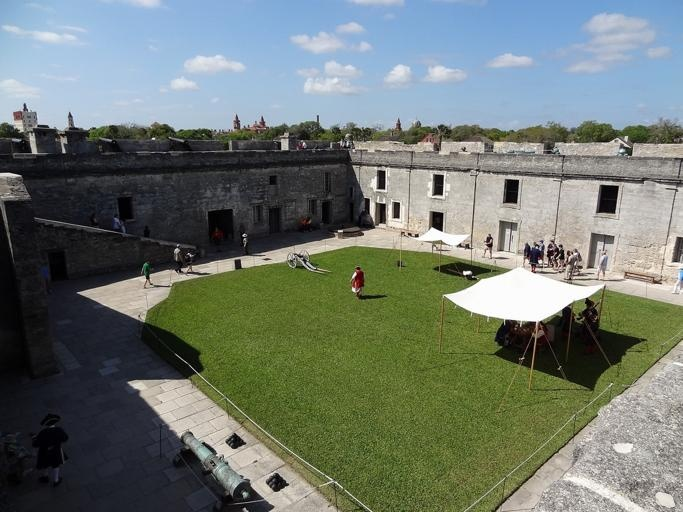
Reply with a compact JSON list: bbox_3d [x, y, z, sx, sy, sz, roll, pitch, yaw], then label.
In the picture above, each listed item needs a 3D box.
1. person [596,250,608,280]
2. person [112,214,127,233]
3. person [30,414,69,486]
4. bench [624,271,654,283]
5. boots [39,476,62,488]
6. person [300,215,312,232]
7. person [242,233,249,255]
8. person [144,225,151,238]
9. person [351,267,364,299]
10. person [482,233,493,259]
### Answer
[{"bbox_3d":[16.239,0.538,27.504,0.604,1.545,2.098,6,15,31],"label":"person"},{"bbox_3d":[-14.906,-2.148,29.524,0.761,1.191,1.273,-8,14,-27],"label":"person"},{"bbox_3d":[-8.313,5.548,12.650,0.805,1.907,0.753,-12,16,-38],"label":"person"},{"bbox_3d":[18.070,1.283,26.782,0.541,0.393,1.587,-4,7,-36],"label":"bench"},{"bbox_3d":[-8.380,6.441,12.680,0.700,0.315,0.242,10,25,-3],"label":"boots"},{"bbox_3d":[-3.228,-2.943,40.713,0.864,1.308,1.369,10,17,43],"label":"person"},{"bbox_3d":[-7.203,-0.926,33.264,0.429,1.421,1.819,-5,13,-14],"label":"person"},{"bbox_3d":[-13.739,-1.697,31.199,0.424,0.828,0.685,-7,14,-23],"label":"person"},{"bbox_3d":[0.881,1.367,23.846,0.549,1.731,1.045,-1,13,4],"label":"person"},{"bbox_3d":[10.838,-0.809,32.590,0.664,1.547,2.316,3,13,18],"label":"person"}]
